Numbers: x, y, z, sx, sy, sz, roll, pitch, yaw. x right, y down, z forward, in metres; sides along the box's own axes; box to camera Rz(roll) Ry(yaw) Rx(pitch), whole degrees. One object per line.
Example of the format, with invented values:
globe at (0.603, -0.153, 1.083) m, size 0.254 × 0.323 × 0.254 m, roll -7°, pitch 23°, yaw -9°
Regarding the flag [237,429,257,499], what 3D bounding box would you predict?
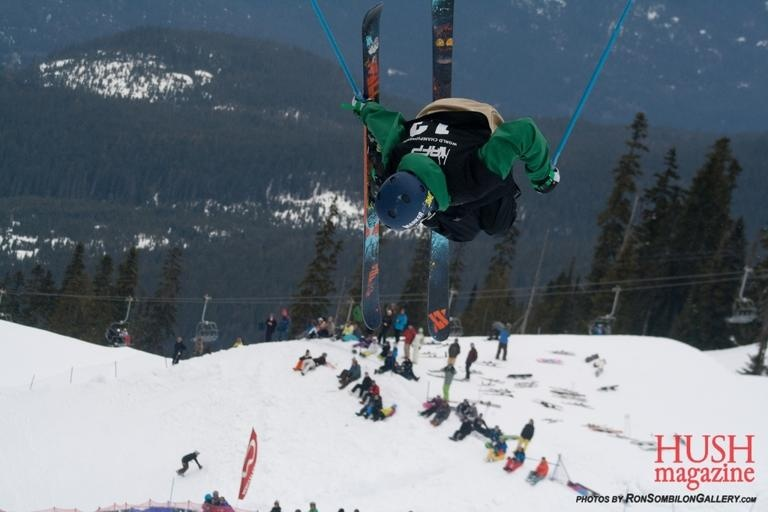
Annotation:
flag at (-8.374, 12.831, 62.485) m, size 0.935 × 3.702 × 2.571 m, roll 6°, pitch -2°, yaw -7°
